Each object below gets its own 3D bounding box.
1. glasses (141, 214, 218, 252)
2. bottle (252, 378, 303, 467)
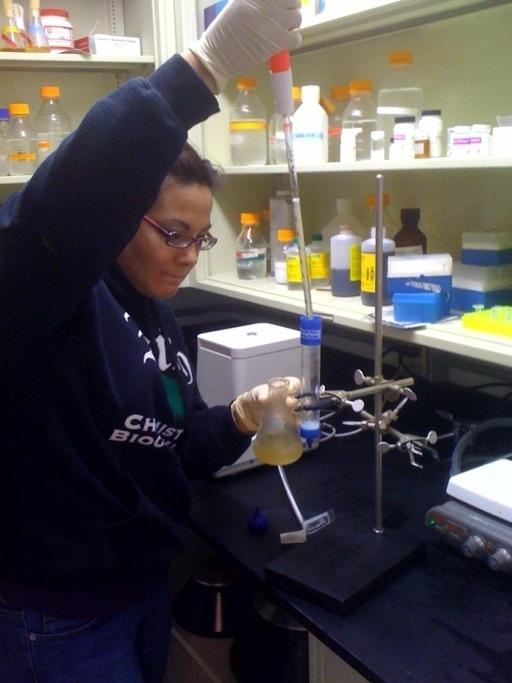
[{"bbox_3d":[-0.151,-0.193,0.999,0.077,0.022,0.076,35,18,25],"label":"glasses"},{"bbox_3d":[0.044,0.151,1.078,0.105,0.152,0.101,0,5,0],"label":"bottle"}]
